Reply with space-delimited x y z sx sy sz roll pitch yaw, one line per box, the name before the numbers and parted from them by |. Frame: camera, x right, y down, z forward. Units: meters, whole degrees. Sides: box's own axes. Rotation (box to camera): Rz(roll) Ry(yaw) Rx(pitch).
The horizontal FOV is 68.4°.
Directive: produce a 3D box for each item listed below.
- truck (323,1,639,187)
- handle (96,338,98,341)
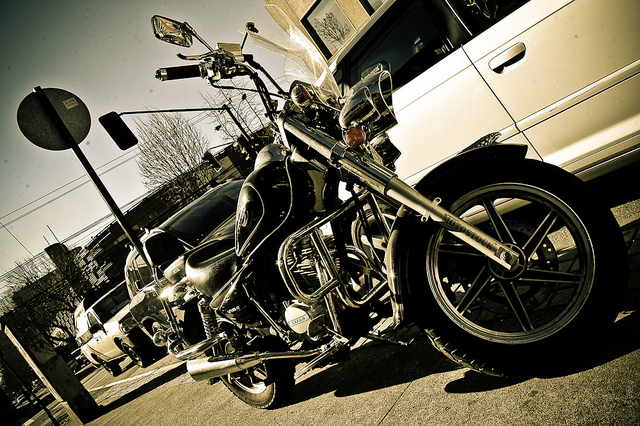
truck | 1.709 -1.329 5.114 2.710 1.464 1.658 -20 3 35
handle | -4.049 2.304 8.549 0.043 0.011 0.044 -1 71 30
